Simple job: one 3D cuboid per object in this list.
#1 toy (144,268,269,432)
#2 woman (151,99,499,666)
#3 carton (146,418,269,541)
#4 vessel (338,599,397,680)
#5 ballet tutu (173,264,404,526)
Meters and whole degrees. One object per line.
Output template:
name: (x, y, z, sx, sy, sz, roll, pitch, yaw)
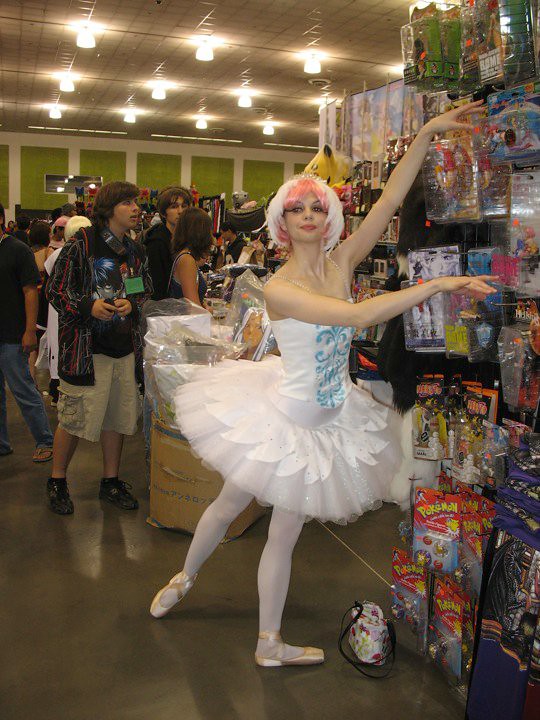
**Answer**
toy: (-0.386, 0.022, 2.876, 0.748, 0.469, 0.841, -11, 41, -17)
woman: (0.145, 0.113, 1.651, 1.136, 1.791, 0.759, 4, 6, 19)
carton: (-0.283, 0.582, 2.791, 0.601, 0.674, 0.638, 4, 15, -4)
vessel: (0.320, 0.940, 1.772, 0.164, 0.207, 0.211, -9, 24, -21)
ballet tutu: (0.071, 0.211, 1.704, 0.750, 0.797, 0.636, 15, 16, -21)
